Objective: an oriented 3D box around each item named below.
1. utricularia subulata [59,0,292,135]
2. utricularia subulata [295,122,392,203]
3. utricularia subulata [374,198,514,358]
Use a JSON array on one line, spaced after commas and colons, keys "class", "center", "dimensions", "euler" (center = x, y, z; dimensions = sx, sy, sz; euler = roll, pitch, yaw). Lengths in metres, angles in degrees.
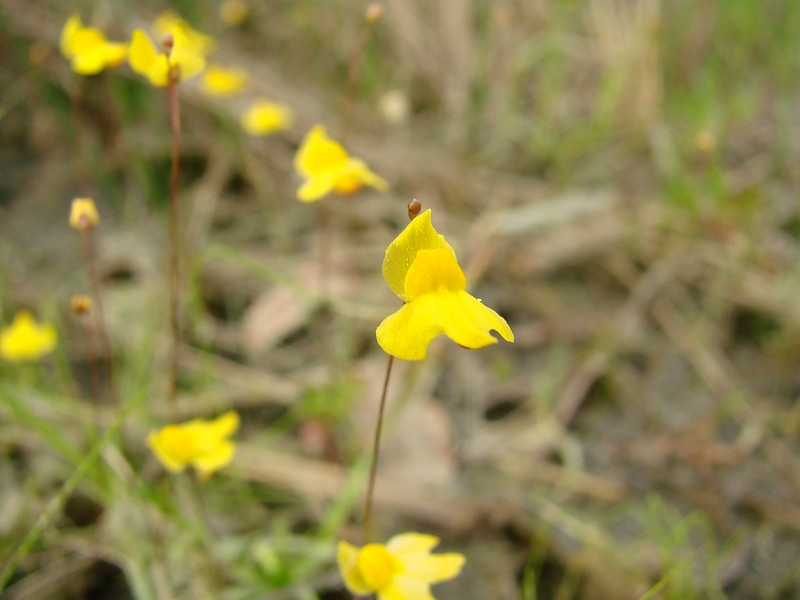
[{"class": "utricularia subulata", "center": [-0.308, -0.307, 1.425], "dimensions": [0.268, 0.111, 0.118], "euler": [13, 55, 7]}, {"class": "utricularia subulata", "center": [-0.073, -0.156, 1.349], "dimensions": [0.038, 0.100, 0.111], "euler": [-15, 53, 35]}, {"class": "utricularia subulata", "center": [0.077, 0.021, 1.227], "dimensions": [0.180, 0.246, 0.111], "euler": [-4, 75, 17]}]
